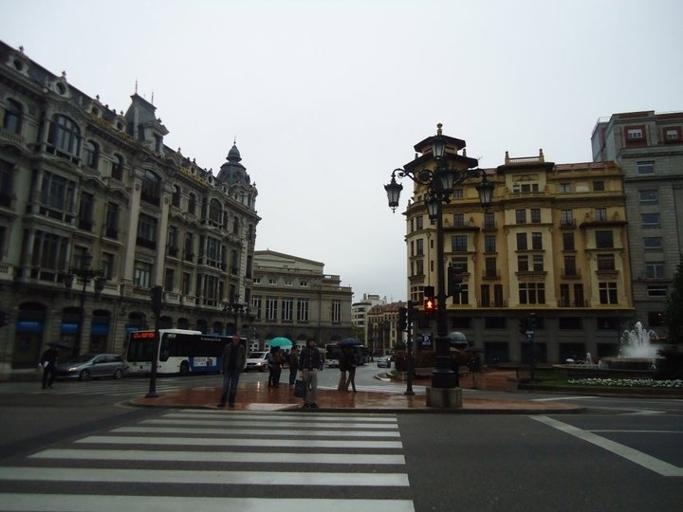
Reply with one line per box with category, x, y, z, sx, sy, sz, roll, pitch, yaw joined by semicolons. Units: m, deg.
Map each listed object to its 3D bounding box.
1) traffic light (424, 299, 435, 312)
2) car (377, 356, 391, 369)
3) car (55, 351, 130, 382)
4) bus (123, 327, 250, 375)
traffic light;2.957;1.618;18.158;0.370;0.553;0.459;-1;-12;6
car;4.800;11.736;60.371;1.242;1.059;2.037;-5;-27;12
car;-13.432;5.948;29.192;1.192;1.385;4.085;-2;-12;14
bus;-10.496;6.839;38.391;2.930;3.052;11.093;-4;-12;18
